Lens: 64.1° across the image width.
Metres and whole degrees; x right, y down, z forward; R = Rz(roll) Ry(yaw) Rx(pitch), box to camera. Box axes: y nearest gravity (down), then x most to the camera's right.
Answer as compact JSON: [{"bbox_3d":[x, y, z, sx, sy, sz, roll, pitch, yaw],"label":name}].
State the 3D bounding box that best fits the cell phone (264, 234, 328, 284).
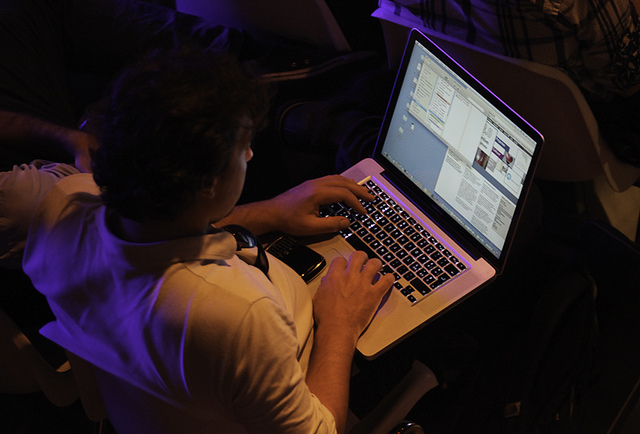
[{"bbox_3d":[-0.067,0.125,1.556,0.155,0.042,0.117,33,59,26],"label":"cell phone"}]
